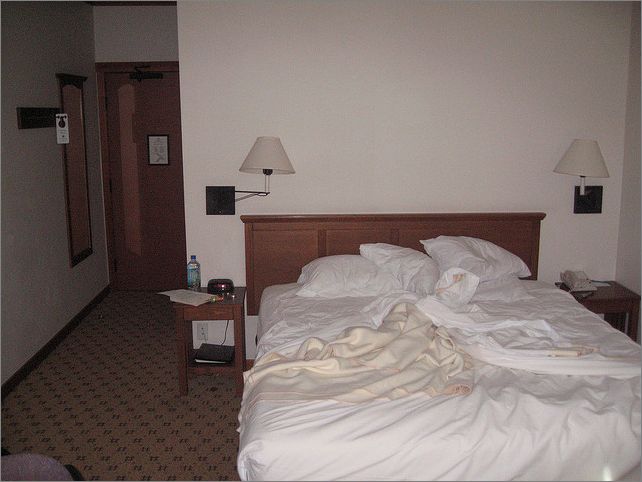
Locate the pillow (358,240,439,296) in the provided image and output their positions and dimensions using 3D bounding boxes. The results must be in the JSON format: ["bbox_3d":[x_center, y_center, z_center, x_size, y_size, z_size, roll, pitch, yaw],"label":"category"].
[{"bbox_3d":[0.659,0.197,4.362,0.728,0.239,0.784,3,33,-11],"label":"pillow"}]

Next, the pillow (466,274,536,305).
[{"bbox_3d":[1.414,0.393,4.139,0.562,0.125,0.303,-3,12,-16],"label":"pillow"}]

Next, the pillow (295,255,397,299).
[{"bbox_3d":[0.208,0.302,4.139,0.478,0.133,0.437,-3,13,-6],"label":"pillow"}]

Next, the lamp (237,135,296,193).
[{"bbox_3d":[-0.474,-0.612,4.320,0.474,0.514,0.440,-2,13,-9],"label":"lamp"}]

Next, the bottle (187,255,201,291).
[{"bbox_3d":[-1.120,0.278,4.523,0.106,0.276,0.228,-3,13,-13],"label":"bottle"}]

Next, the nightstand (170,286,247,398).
[{"bbox_3d":[-0.924,0.840,4.367,0.541,0.773,0.519,-1,12,-5],"label":"nightstand"}]

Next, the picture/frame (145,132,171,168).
[{"bbox_3d":[-1.911,-1.071,5.998,0.391,0.547,0.053,0,7,-3],"label":"picture/frame"}]
